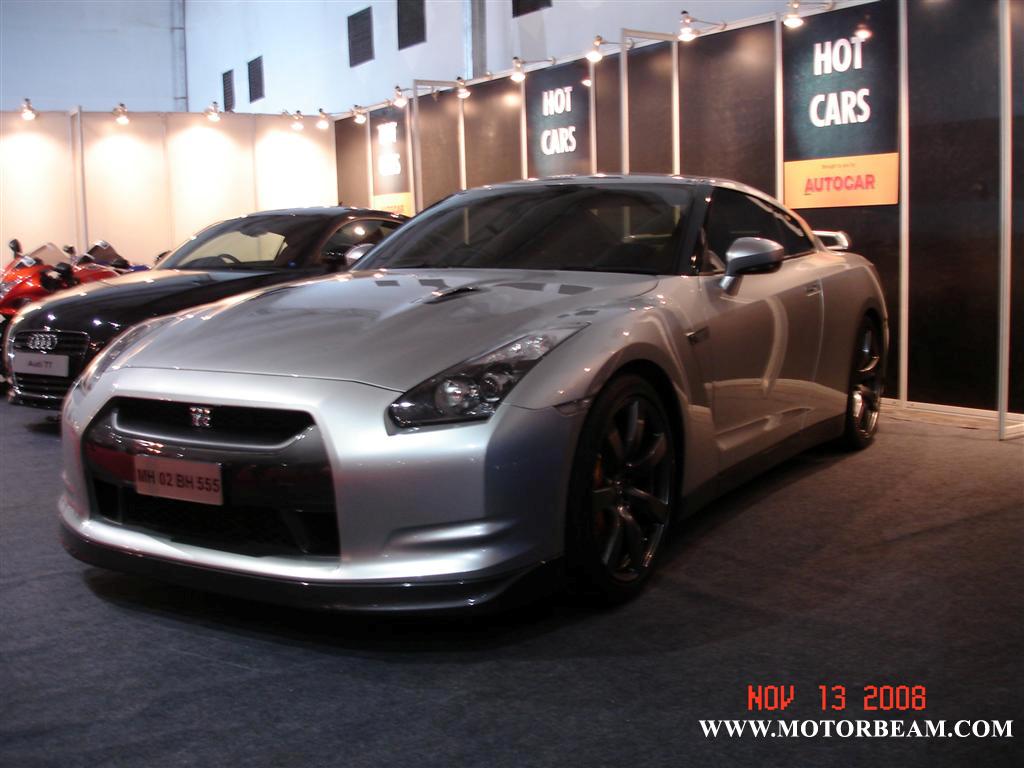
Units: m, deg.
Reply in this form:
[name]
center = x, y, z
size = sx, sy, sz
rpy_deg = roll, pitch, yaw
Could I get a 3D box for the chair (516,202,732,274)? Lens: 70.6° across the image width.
[chair]
center = 0.432, -0.693, 3.268
size = 0.497, 0.190, 0.762
rpy_deg = 8, 13, 31

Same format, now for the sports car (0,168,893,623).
[sports car]
center = 0.433, -0.174, 3.275
size = 1.822, 0.931, 3.497
rpy_deg = 3, 6, 37
